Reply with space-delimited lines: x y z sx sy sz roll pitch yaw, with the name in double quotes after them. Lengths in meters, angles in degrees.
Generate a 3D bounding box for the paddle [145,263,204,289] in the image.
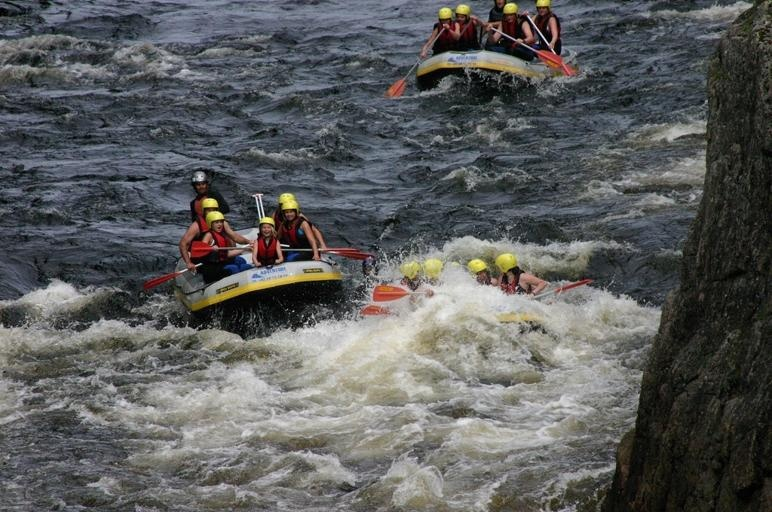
-4.730 0.462 32.664 1.750 0.153 0.097 -14 45 -9 "paddle"

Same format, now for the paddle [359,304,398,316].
-0.226 1.157 30.976 0.851 0.185 0.204 3 5 -23 "paddle"

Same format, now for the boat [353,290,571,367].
1.458 1.319 30.637 4.194 1.352 2.123 2 6 8 "boat"

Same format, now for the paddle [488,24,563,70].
4.171 -5.572 40.342 3.281 0.277 0.688 20 -20 2 "paddle"
